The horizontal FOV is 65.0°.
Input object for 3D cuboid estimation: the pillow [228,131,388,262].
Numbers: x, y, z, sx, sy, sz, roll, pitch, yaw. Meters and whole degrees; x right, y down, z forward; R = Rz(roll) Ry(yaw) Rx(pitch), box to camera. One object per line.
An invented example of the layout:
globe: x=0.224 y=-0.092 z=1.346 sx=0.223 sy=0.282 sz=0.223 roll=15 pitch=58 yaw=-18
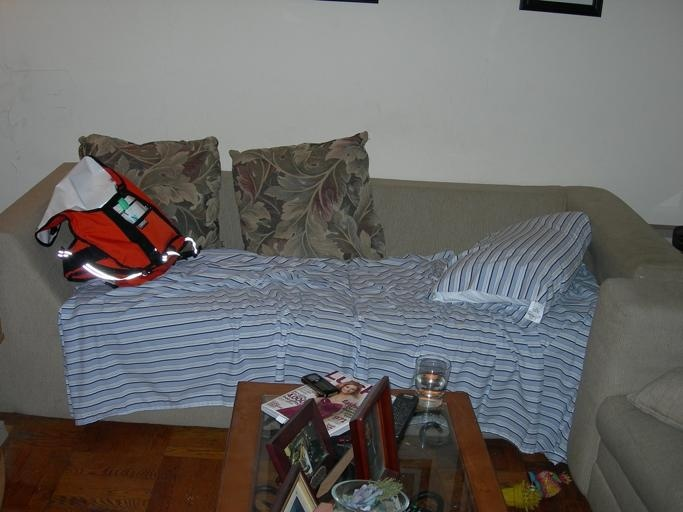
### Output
pillow: x=-0.171 y=-0.259 z=2.602 sx=0.680 sy=0.673 sz=0.209 roll=-2 pitch=-2 yaw=-1

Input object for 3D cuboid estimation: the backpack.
backpack: x=-0.944 y=-0.097 z=2.190 sx=0.501 sy=0.222 sz=0.561 roll=-36 pitch=85 yaw=-36

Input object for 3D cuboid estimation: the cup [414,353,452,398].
cup: x=0.278 y=0.369 z=1.716 sx=0.116 sy=0.136 sz=0.113 roll=1 pitch=27 yaw=0

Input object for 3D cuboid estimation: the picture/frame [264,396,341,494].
picture/frame: x=-0.101 y=0.511 z=1.420 sx=0.013 sy=0.173 sz=0.170 roll=-10 pitch=25 yaw=41

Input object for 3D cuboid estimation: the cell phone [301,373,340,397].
cell phone: x=-0.066 y=0.386 z=1.669 sx=0.054 sy=0.020 sz=0.099 roll=-11 pitch=31 yaw=-41
